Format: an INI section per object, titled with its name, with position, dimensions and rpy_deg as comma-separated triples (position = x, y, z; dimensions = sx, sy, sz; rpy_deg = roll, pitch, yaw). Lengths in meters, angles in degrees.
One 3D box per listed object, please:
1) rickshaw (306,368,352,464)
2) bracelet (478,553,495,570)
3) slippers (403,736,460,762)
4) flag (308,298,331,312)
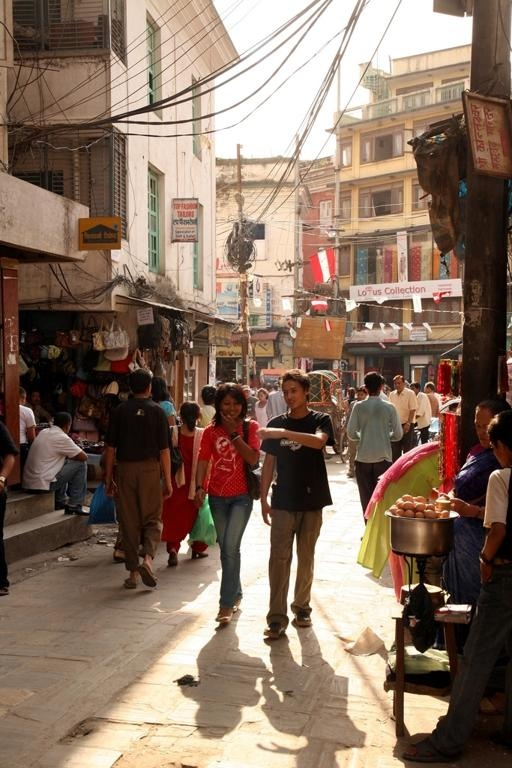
[rickshaw]
position = 1.646, 0.710, 18.817
dimensions = 1.272, 1.997, 3.235
rpy_deg = -1, -2, 8
[bracelet]
position = 0.898, 0.691, 2.829
dimensions = 0.052, 0.038, 0.056
rpy_deg = 26, -29, -25
[slippers]
position = 0.691, 1.415, 2.849
dimensions = 0.197, 0.091, 0.087
rpy_deg = 2, -4, 13
[flag]
position = 3.104, -3.854, 35.519
dimensions = 0.846, 0.615, 0.065
rpy_deg = -3, -6, -6
